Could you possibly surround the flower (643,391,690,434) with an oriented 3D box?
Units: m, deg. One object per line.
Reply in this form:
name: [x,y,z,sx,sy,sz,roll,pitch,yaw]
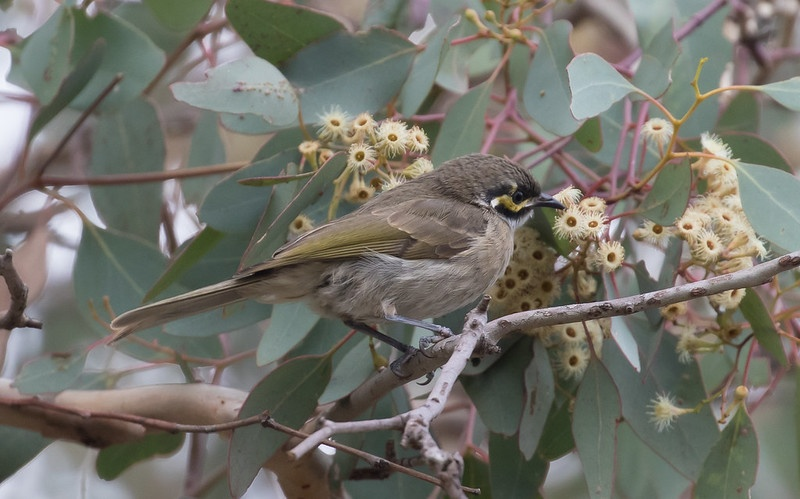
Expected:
flower: [1.405,0.848,4.453,0.217,0.161,0.135,0,-39,5]
